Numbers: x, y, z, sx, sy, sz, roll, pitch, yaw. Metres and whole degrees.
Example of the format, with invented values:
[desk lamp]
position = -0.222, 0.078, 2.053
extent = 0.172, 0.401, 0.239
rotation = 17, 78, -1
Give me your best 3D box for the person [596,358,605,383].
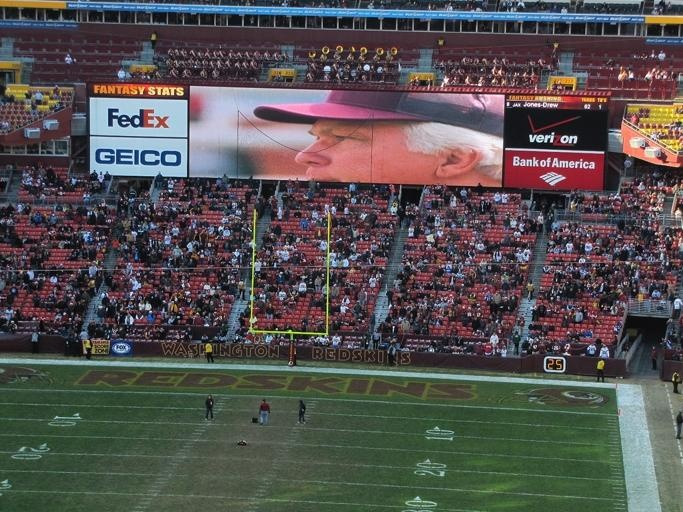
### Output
[person]
position = 10.791, 4.740, 60.426
extent = 0.386, 0.963, 1.050
rotation = 2, 10, 10
